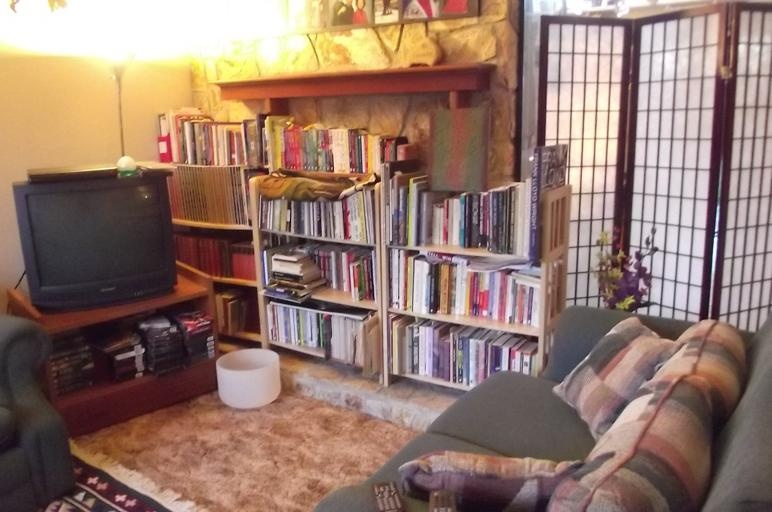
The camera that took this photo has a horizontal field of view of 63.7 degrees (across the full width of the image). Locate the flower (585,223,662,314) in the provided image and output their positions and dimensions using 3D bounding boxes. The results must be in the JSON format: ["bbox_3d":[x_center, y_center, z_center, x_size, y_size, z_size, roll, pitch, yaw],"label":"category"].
[{"bbox_3d":[1.446,0.086,3.770,0.382,0.514,0.266,8,7,23],"label":"flower"}]

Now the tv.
[{"bbox_3d":[-1.906,-0.163,4.117,0.903,0.816,0.467,-9,25,-28],"label":"tv"}]
